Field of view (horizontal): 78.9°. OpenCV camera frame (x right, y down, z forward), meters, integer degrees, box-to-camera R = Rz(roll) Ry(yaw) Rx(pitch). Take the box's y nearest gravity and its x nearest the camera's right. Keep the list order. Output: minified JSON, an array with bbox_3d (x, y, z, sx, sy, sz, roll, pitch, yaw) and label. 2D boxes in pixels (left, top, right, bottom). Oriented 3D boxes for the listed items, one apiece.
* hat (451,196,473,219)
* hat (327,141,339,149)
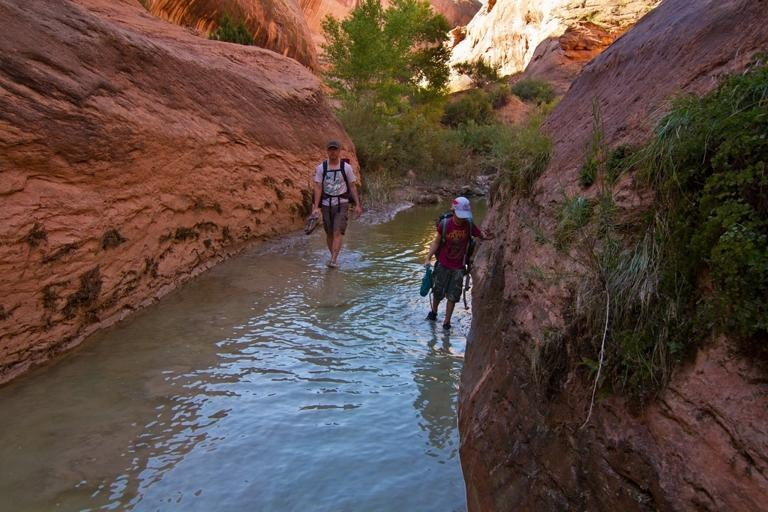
[{"bbox_3d":[1.016,-0.660,6.241,0.212,0.166,0.319,-2,34,-16],"label":"hat"},{"bbox_3d":[-0.887,-1.912,8.065,0.160,0.119,0.226,-1,-4,2],"label":"hat"}]
